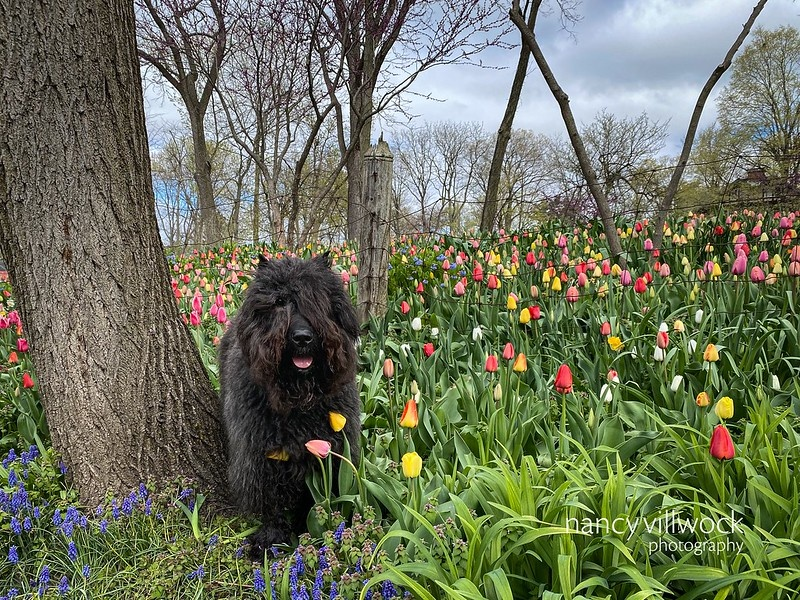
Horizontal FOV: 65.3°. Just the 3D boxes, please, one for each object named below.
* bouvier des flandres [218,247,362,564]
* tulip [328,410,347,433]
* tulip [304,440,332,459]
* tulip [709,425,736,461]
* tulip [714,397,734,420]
[{"bbox_3d":[-0.841,0.688,4.732,0.851,2.082,2.113,-2,5,-17],"label":"bouvier des flandres"},{"bbox_3d":[-0.387,0.773,3.946,0.111,0.152,0.206,-1,5,-6],"label":"tulip"},{"bbox_3d":[-0.482,0.887,3.749,0.159,0.101,0.066,28,5,0],"label":"tulip"},{"bbox_3d":[1.805,0.806,3.501,0.117,0.238,0.133,1,6,16],"label":"tulip"},{"bbox_3d":[1.989,0.662,3.830,0.092,0.190,0.267,2,6,27],"label":"tulip"}]
